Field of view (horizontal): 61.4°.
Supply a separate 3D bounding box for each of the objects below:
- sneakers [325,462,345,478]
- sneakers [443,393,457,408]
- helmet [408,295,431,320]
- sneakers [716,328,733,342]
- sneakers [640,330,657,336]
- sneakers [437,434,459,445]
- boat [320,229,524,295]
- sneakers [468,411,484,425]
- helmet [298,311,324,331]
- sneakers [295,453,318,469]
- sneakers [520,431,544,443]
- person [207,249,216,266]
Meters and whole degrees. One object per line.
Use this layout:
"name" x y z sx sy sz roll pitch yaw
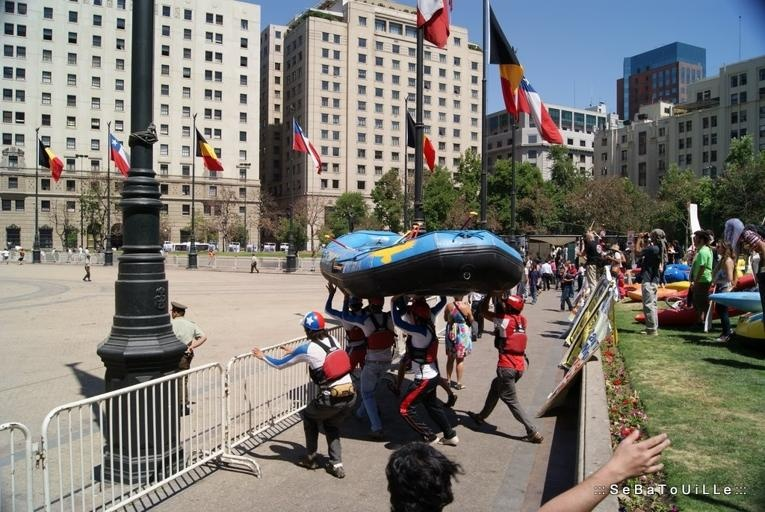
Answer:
"sneakers" -0.811 3.606 10.969 0.335 0.265 0.189 -1 2 -3
"sneakers" 1.408 2.956 13.161 0.185 0.152 0.484 10 -25 2
"helmet" 0.695 0.981 12.219 0.426 0.414 0.417 0 2 5
"sneakers" 7.978 1.874 14.892 0.175 0.242 0.523 4 -5 -9
"sneakers" 6.867 1.957 16.527 0.372 0.179 0.141 2 0 32
"sneakers" 1.237 3.356 11.834 0.427 0.191 0.150 1 -1 33
"boat" 0.592 0.166 12.794 3.780 1.331 1.868 1 3 43
"sneakers" 1.833 3.149 12.741 0.135 0.170 0.395 40 -1 -23
"helmet" -1.237 1.137 11.234 0.353 0.309 0.357 -1 2 -24
"sneakers" -1.306 3.548 11.233 0.187 0.161 0.358 3 1 -42
"sneakers" 2.801 3.317 11.869 0.170 0.139 0.375 2 0 -29
"person" -14.106 0.233 52.697 0.480 1.248 1.226 -1 2 -16
